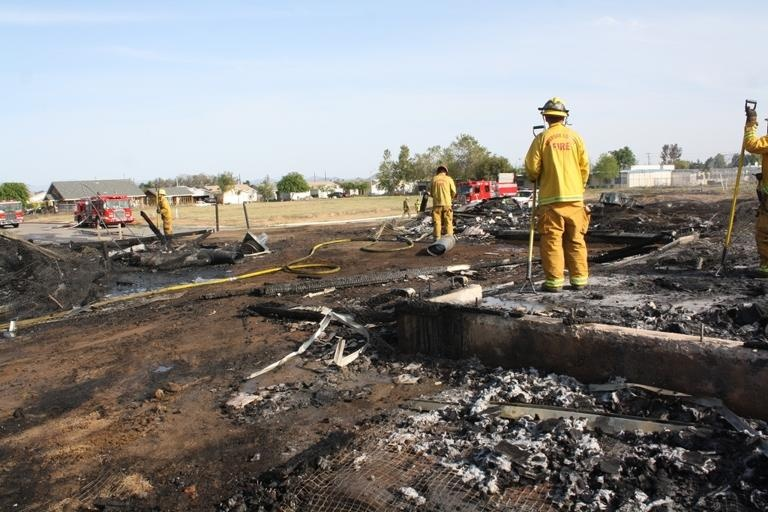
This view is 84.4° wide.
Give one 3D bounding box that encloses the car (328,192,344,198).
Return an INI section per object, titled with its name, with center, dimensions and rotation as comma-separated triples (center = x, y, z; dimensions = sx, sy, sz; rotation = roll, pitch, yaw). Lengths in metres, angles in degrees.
[car]
center = -11.118, -13.844, 96.798
dimensions = 2.943, 1.073, 4.337
rotation = 1, 2, 26

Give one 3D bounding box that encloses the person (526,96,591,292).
[person]
center = 2.390, -0.876, 5.900
dimensions = 0.784, 2.655, 0.935
rotation = -2, 10, 22
